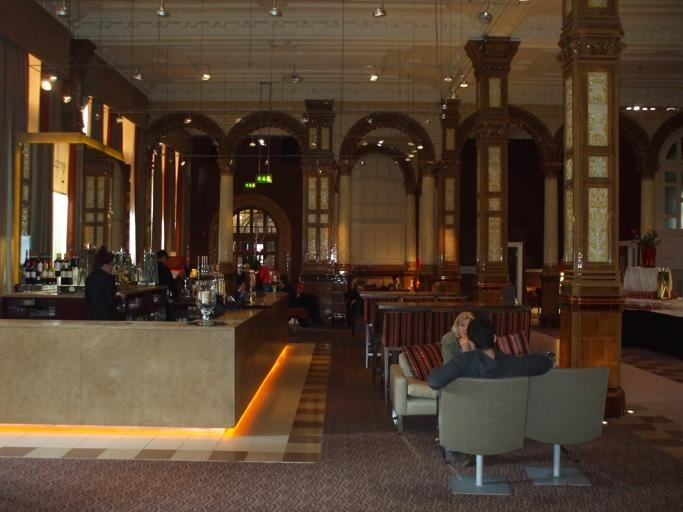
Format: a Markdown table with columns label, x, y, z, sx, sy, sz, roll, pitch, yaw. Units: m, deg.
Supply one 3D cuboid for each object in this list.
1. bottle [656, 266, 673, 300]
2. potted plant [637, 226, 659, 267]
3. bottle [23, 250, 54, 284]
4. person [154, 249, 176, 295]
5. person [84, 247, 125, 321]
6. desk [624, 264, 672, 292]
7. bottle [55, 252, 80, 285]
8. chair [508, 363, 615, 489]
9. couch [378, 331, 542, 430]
| label | x | y | z | sx | sy | sz | roll | pitch | yaw |
| --- | --- | --- | --- | --- | --- | --- | --- | --- | --- |
| bottle | 7.285 | 0.620 | 14.991 | 0.297 | 0.674 | 0.470 | 5 | 8 | 31 |
| potted plant | 7.024 | -0.182 | 15.250 | 0.440 | 0.814 | 0.643 | 4 | 7 | 22 |
| bottle | -4.445 | 0.179 | 9.711 | 0.382 | 0.627 | 0.340 | 1 | -8 | -9 |
| person | -2.926 | 0.288 | 11.009 | 0.313 | 0.695 | 1.190 | -1 | 8 | -16 |
| person | -3.155 | 0.406 | 8.759 | 0.462 | 0.905 | 0.425 | -2 | 7 | -25 |
| desk | 6.814 | 0.525 | 15.025 | 0.705 | 0.496 | 0.774 | 0 | 1 | 5 |
| bottle | -3.935 | 0.221 | 9.469 | 0.337 | 0.394 | 0.404 | -3 | 8 | -27 |
| chair | 2.061 | 1.734 | 7.066 | 0.998 | 1.587 | 0.997 | 1 | -1 | -3 |
| couch | 1.257 | 1.529 | 7.965 | 1.300 | 1.041 | 0.838 | -1 | -2 | -5 |
